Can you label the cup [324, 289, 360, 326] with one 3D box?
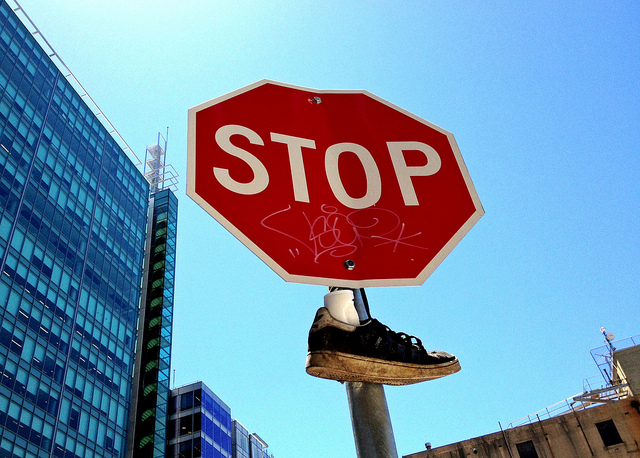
[{"bbox_3d":[0.319,0.966,6.535,0.479,0.490,0.381,-8,-14,4],"label":"cup"}]
